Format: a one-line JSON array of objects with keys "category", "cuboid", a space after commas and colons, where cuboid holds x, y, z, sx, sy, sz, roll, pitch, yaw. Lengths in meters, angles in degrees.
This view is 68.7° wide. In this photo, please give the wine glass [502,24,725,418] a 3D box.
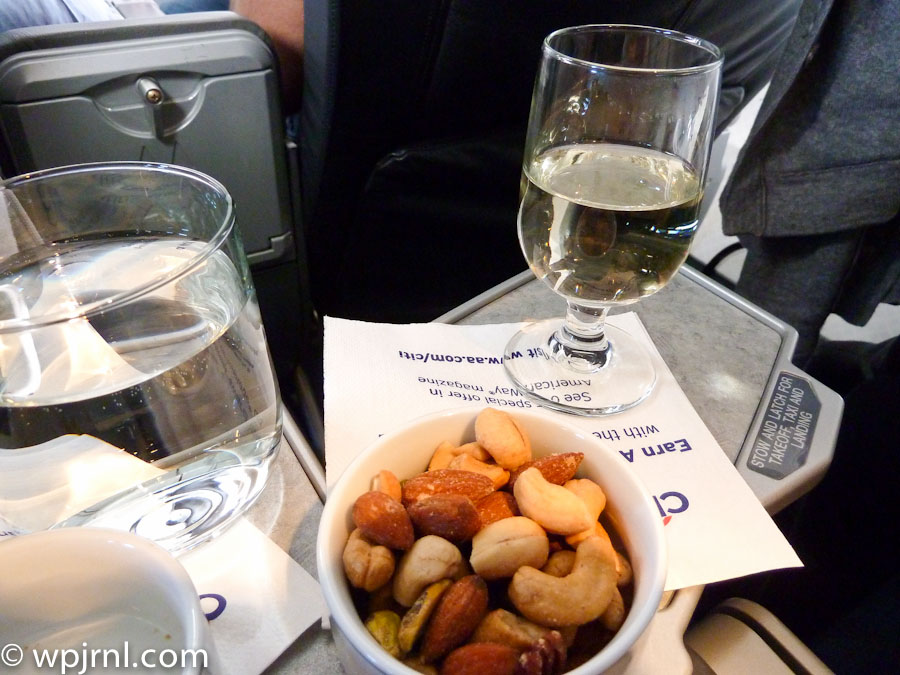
[{"category": "wine glass", "cuboid": [0.161, -0.114, 0.685, 0.182, 0.327, 0.263, 8, 44, 8]}]
